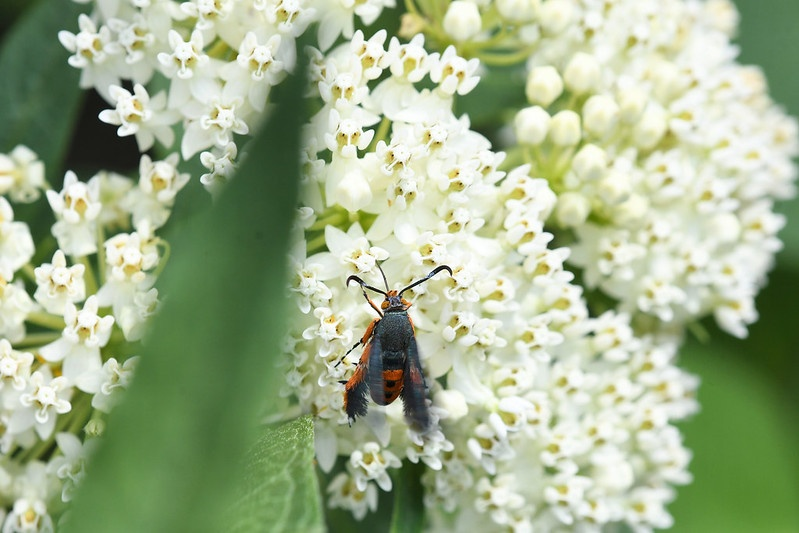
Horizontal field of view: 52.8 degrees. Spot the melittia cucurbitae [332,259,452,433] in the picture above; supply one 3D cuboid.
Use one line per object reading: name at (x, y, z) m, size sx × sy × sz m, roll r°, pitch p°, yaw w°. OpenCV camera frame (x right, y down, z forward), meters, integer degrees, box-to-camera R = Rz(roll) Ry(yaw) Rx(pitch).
melittia cucurbitae at (-0.014, 0.128, 1.331) m, size 0.169 × 0.083 × 0.275 m, roll 8°, pitch 80°, yaw 3°
